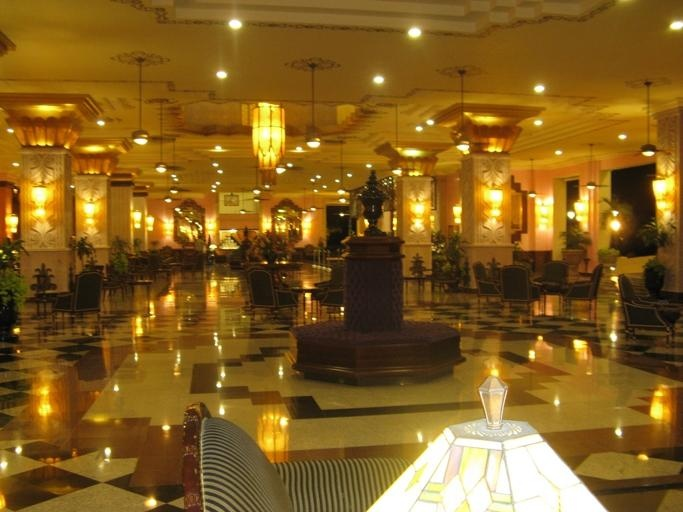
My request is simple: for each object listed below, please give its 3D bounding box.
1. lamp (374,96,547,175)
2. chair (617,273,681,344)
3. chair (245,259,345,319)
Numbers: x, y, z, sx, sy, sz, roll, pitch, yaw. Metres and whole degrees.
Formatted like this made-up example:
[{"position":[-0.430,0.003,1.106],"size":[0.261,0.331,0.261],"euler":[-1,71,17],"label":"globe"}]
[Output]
[{"position":[2.788,-2.981,14.748],"size":[1.447,0.586,2.853],"euler":[1,-4,-21],"label":"lamp"},{"position":[4.081,0.666,8.127],"size":[0.664,0.916,0.499],"euler":[-4,7,25],"label":"chair"},{"position":[-0.731,0.603,10.711],"size":[1.707,0.843,1.233],"euler":[-3,5,-29],"label":"chair"}]
